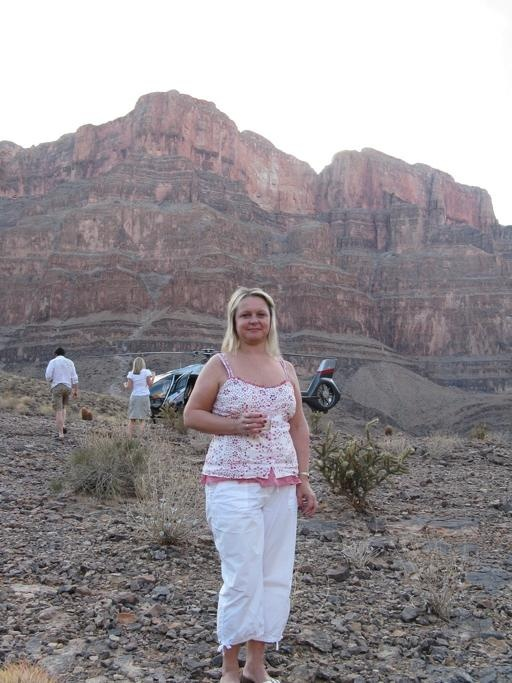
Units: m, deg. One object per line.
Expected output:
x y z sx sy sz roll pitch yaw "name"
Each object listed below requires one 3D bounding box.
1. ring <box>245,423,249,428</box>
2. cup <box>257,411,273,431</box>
-0.039 0.364 2.823 0.014 0.014 0.005 0 -20 -2 "ring"
0.043 0.361 2.884 0.030 0.071 0.052 1 -59 -16 "cup"
